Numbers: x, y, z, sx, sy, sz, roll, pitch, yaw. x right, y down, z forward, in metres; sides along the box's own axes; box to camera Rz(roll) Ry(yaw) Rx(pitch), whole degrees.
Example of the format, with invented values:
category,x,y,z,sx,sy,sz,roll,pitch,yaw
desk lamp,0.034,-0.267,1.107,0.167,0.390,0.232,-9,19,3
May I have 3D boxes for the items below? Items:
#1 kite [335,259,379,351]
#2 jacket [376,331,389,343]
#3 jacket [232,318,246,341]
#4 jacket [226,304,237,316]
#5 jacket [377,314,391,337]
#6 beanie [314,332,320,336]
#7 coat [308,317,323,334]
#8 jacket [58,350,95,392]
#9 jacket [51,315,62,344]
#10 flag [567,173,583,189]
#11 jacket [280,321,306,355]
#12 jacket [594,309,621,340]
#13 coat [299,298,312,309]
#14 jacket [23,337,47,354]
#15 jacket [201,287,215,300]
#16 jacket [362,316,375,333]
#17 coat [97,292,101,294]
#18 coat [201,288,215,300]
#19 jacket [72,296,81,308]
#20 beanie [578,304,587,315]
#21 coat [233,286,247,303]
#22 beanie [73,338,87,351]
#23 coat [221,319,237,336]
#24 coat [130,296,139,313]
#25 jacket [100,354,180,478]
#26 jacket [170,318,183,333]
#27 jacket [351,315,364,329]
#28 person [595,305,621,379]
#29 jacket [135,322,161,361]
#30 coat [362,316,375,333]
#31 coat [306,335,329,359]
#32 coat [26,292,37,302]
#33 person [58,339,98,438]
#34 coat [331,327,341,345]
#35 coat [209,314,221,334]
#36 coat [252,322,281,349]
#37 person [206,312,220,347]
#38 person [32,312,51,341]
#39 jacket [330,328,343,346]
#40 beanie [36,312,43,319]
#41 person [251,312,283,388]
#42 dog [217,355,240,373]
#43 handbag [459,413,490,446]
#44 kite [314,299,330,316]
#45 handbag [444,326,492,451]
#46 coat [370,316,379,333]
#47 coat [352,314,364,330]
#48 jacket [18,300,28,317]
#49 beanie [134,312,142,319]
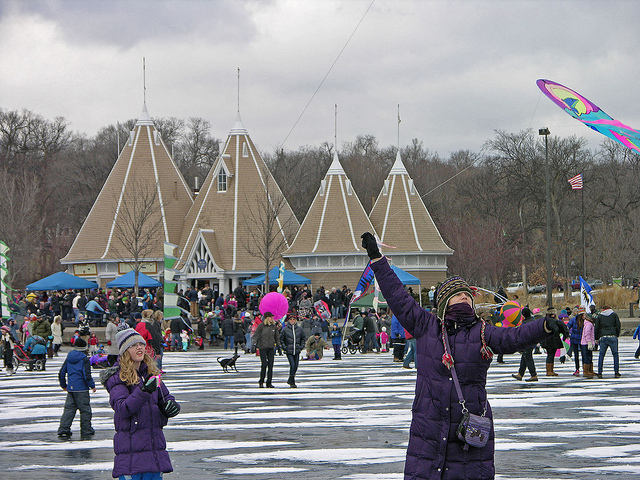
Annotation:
category,x,y,z,sx,sy,sz,roll,pitch,yaw
kite,1.343,1.976,55.213,1.761,0.157,3.768,-25,31,29
jacket,2.502,4.007,63.450,0.555,0.825,0.309,1,4,9
jacket,-3.424,3.586,61.542,0.439,0.915,1.351,-1,-4,-3
jacket,-4.079,3.091,67.664,0.507,0.381,0.647,-1,-6,-1
jacket,2.613,3.479,63.347,0.690,0.811,0.805,1,5,-3
beanie,-0.235,3.626,58.991,0.141,0.148,0.134,2,0,-4
coat,-0.317,3.334,59.590,0.333,0.934,0.309,1,-44,3
jacket,-7.441,3.888,45.556,0.959,1.239,0.510,-3,-4,22
jacket,-10.659,3.536,60.481,0.372,1.112,1.576,0,-4,-10
flag,12.189,-2.795,72.712,0.502,0.761,1.465,-2,-4,15
jacket,-1.063,3.325,52.156,0.739,1.136,1.362,-2,-4,6
jacket,9.854,2.893,52.578,0.871,1.010,0.578,-2,-4,15
coat,-0.698,2.487,58.508,0.478,0.385,0.266,2,10,2
jacket,-10.774,3.963,57.075,0.588,0.628,0.250,-1,1,23
jacket,-5.705,2.633,75.038,0.443,0.758,0.253,-10,-26,10
jacket,1.870,3.383,61.740,0.582,0.616,0.331,-6,19,-11
coat,-11.063,2.601,74.805,0.200,0.068,0.213,1,1,8
coat,-5.689,2.646,74.877,0.358,0.714,0.233,-19,-17,12
jacket,-10.975,2.736,67.665,0.566,0.553,0.480,-3,-5,-7
beanie,9.462,2.500,55.201,0.226,0.245,0.312,4,6,18
coat,-4.055,2.666,73.925,0.673,0.849,0.490,-8,21,14
beanie,-7.315,3.104,45.686,0.271,0.244,0.381,1,-5,-22
coat,-3.845,3.545,62.357,0.756,0.777,0.423,2,10,10
coat,-8.332,2.833,67.029,0.492,0.787,0.640,1,-2,20
jacket,-5.083,4.678,41.098,1.779,3.170,1.905,4,-4,-19
jacket,-5.770,3.317,59.788,0.625,0.684,0.386,1,6,10
jacket,1.454,3.275,61.692,0.688,0.680,0.399,1,15,-5
person,9.957,3.510,52.931,0.836,2.532,1.391,-2,-4,10
jacket,-5.800,3.227,50.959,0.625,1.322,1.395,-11,19,-23
coat,1.870,3.386,61.749,0.587,0.623,0.334,-7,19,-14
coat,-0.262,4.185,59.694,0.828,1.109,0.487,6,13,10
coat,-12.491,2.388,64.884,0.462,0.514,0.469,-6,-5,34
person,-7.407,4.395,45.586,1.092,2.871,0.733,0,-4,-10
coat,0.549,3.744,59.649,0.326,0.640,0.583,-1,-4,-1
coat,-4.690,3.581,65.555,0.877,0.898,0.351,-1,6,-6
coat,-1.916,3.217,51.451,1.195,1.085,0.608,3,-10,-21
person,-4.785,3.853,65.749,0.540,1.451,1.492,-1,-4,-4
person,-10.799,3.286,58.246,0.681,1.077,0.681,0,-4,-18
jacket,0.585,3.774,59.728,0.614,0.793,0.515,-1,-17,3
beanie,-10.970,2.886,58.454,0.245,0.232,0.246,2,10,18
person,-1.914,3.667,51.090,0.823,2.486,0.608,-1,-4,-7
dog,-3.417,4.456,55.221,0.703,0.620,1.695,-1,-4,-4
handbag,3.918,4.876,39.266,0.676,0.640,0.319,17,6,-4
kite,-0.095,2.843,63.445,0.502,0.597,1.015,-1,-4,-1
handbag,3.807,4.281,39.311,0.890,1.954,0.920,2,-1,22
coat,2.167,3.438,62.379,0.142,0.596,0.597,-8,12,-4
coat,1.457,3.333,61.969,0.570,0.541,0.325,-4,17,-17
jacket,-12.726,2.865,64.200,0.347,0.862,0.654,5,-47,-19
beanie,-6.493,2.606,53.037,0.225,0.202,0.220,6,-8,-27
